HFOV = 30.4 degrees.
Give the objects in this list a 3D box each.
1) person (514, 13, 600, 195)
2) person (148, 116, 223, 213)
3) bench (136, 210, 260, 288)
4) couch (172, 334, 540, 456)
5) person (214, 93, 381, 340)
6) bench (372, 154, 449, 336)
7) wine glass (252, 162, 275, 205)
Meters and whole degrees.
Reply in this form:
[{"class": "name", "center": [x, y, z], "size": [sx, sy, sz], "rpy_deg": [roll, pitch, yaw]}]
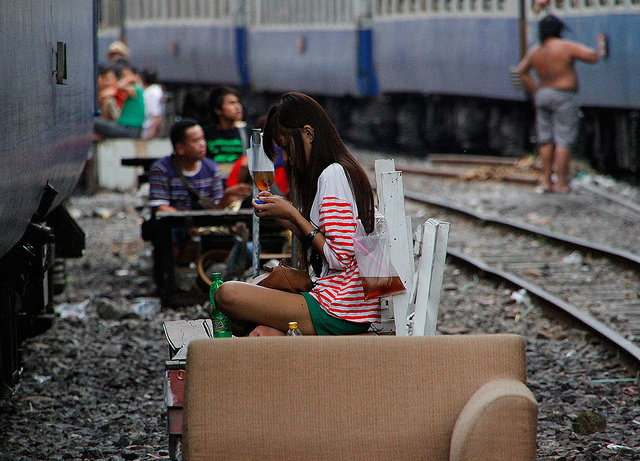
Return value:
[{"class": "person", "center": [2.156, -1.132, 11.084], "size": [0.580, 1.724, 0.698], "rpy_deg": [5, 15, 17]}, {"class": "person", "center": [-1.200, -0.529, 10.911], "size": [0.632, 1.114, 0.714], "rpy_deg": [-1, 26, -18]}, {"class": "bench", "center": [-1.183, 0.084, 10.990], "size": [1.126, 0.702, 0.703], "rpy_deg": [1, 18, 0]}, {"class": "couch", "center": [0.242, 1.068, 7.489], "size": [2.237, 0.729, 0.375], "rpy_deg": [0, 15, -2]}, {"class": "person", "center": [-0.091, -0.099, 8.135], "size": [1.033, 1.558, 0.616], "rpy_deg": [1, 15, 3]}, {"class": "bench", "center": [0.551, 0.168, 8.373], "size": [0.364, 1.208, 1.124], "rpy_deg": [-2, 2, -23]}, {"class": "wine glass", "center": [-0.404, -0.375, 8.447], "size": [0.173, 0.356, 0.202], "rpy_deg": [-8, 11, -25]}]
